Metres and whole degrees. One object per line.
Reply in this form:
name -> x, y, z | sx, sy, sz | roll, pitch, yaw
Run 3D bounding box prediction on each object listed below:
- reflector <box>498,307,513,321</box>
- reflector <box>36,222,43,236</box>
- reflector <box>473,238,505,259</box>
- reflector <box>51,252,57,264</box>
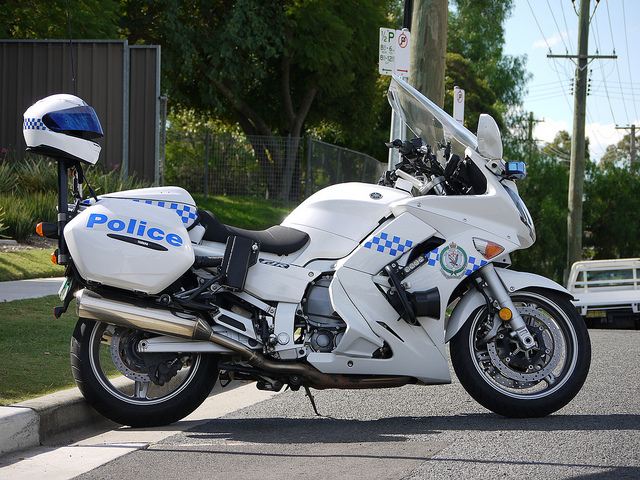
reflector -> 1.544, 0.605, 5.921 | 0.098, 0.110, 0.027 | 0, -5, 7
reflector -> -2.209, -0.089, 5.618 | 0.036, 0.085, 0.207 | -1, 3, -21
reflector -> 1.408, 0.061, 5.952 | 0.212, 0.151, 0.081 | 6, -24, -2
reflector -> -2.128, 0.142, 5.684 | 0.032, 0.073, 0.177 | -1, 3, -21
